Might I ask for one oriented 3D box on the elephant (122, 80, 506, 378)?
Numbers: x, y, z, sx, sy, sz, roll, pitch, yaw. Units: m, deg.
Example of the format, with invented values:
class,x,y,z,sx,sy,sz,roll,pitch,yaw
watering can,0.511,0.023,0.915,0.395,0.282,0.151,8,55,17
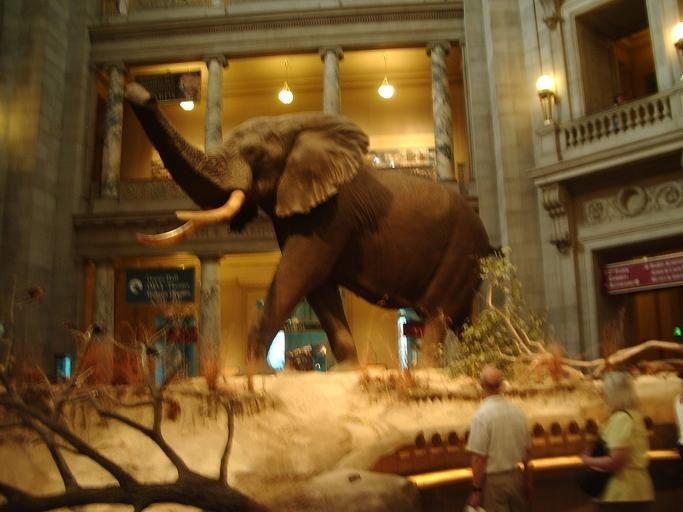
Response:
class,x,y,z,sx,sy,sz,roll,pitch,yaw
elephant,-0.171,0.276,8.357,4.743,3.675,1.863,15,-23,-22
